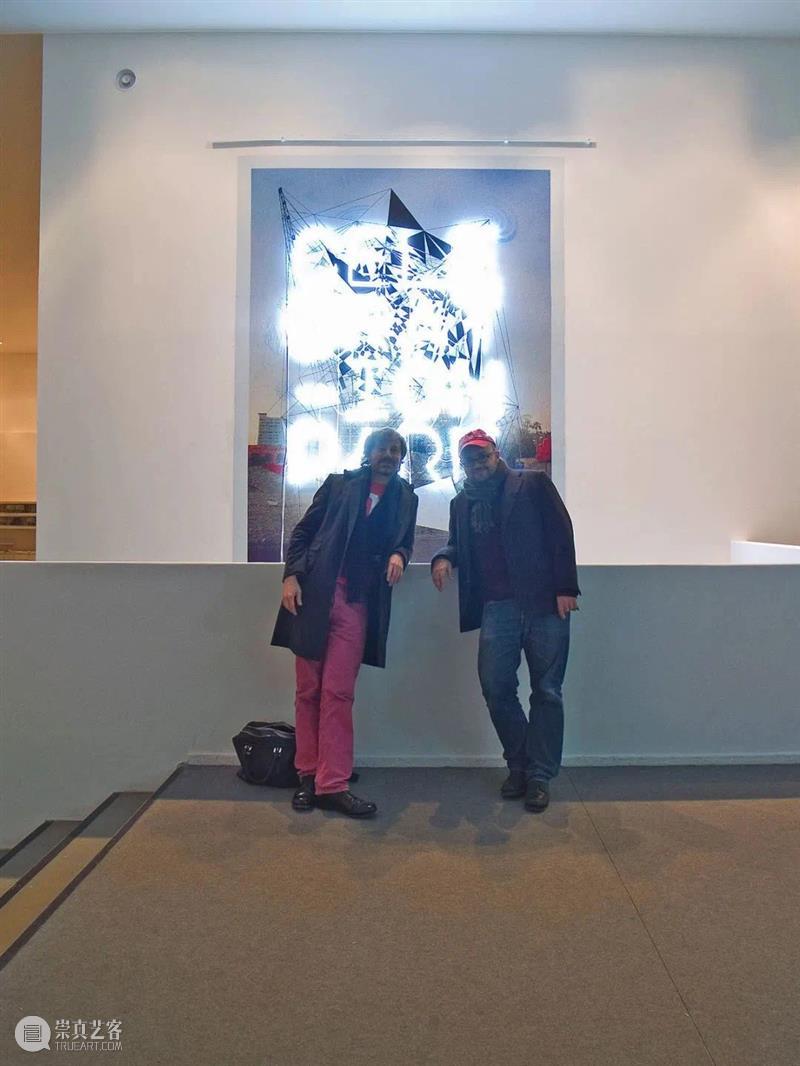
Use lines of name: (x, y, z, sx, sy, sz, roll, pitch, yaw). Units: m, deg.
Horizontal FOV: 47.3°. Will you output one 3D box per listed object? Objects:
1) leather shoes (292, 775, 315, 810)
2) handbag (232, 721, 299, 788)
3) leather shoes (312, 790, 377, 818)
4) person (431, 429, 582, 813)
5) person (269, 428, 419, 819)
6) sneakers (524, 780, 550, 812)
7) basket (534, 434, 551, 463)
leather shoes: (-0.326, 0.891, 3.087, 0.075, 0.077, 0.113, 1, 9, 5)
handbag: (-0.488, 0.835, 3.350, 0.257, 0.258, 0.186, 1, -6, 16)
leather shoes: (-0.176, 0.907, 3.067, 0.224, 0.101, 0.079, 0, -1, 20)
person: (0.405, 0.281, 3.282, 0.375, 1.266, 0.581, -7, 11, -39)
person: (-0.194, 0.283, 3.149, 0.429, 1.252, 0.513, 1, 9, 10)
sneakers: (0.461, 0.894, 3.073, 0.061, 0.067, 0.163, -1, -9, 7)
basket: (0.844, -0.506, 5.486, 0.111, 0.124, 0.150, -2, 5, 4)
